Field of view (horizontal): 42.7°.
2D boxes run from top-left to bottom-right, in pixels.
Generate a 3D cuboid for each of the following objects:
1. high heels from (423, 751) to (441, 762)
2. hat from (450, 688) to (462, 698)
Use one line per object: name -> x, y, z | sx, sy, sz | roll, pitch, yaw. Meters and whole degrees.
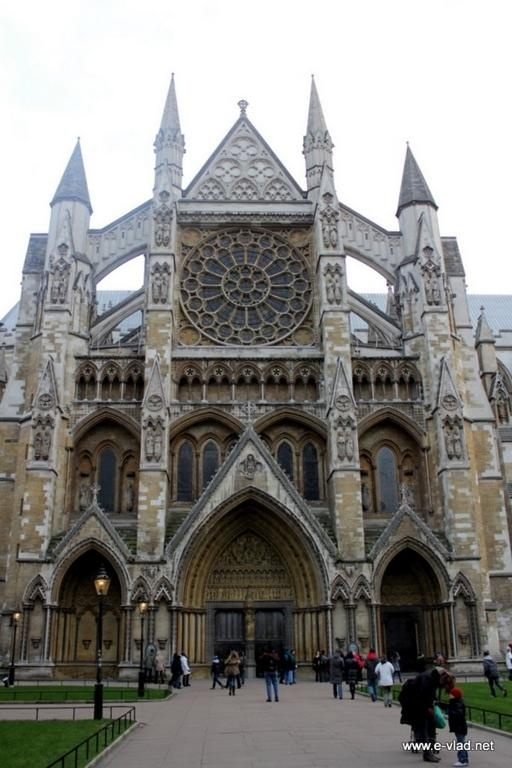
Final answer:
high heels -> 2.018, 4.300, 7.580 | 0.173, 0.132, 0.351 | -8, -23, 12
hat -> 2.410, 3.717, 7.887 | 0.100, 0.139, 0.139 | 13, -19, 14
